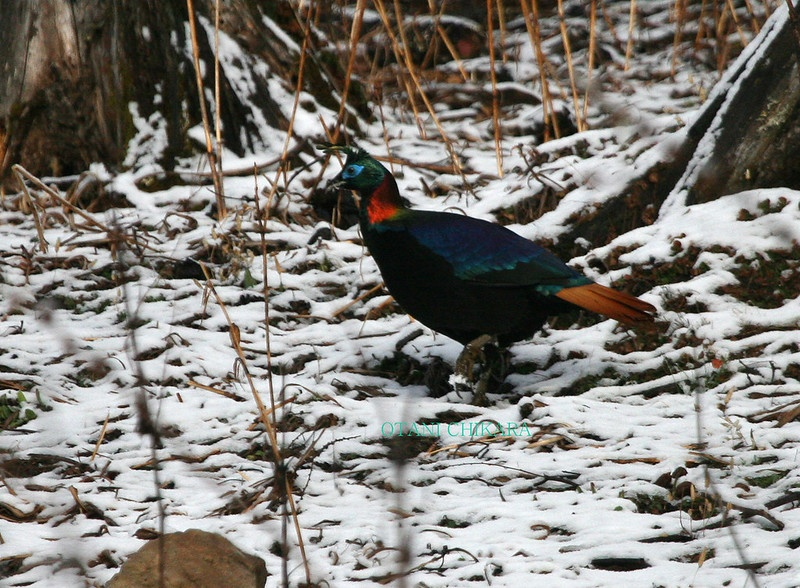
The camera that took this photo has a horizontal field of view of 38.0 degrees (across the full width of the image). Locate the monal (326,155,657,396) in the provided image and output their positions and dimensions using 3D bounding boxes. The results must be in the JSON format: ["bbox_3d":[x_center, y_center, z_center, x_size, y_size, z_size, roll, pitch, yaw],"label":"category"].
[{"bbox_3d":[0.373,-0.110,6.336,1.716,1.299,0.540,7,19,30],"label":"monal"}]
